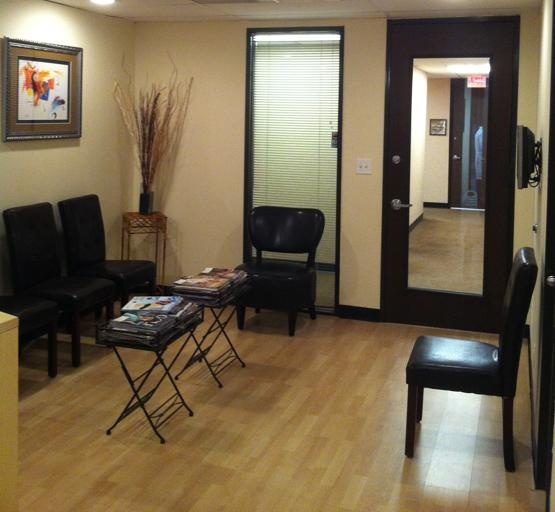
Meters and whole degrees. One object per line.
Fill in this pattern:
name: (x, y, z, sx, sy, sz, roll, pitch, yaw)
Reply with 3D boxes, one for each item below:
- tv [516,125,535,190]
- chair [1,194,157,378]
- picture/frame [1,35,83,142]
tv: (1.353, -0.536, 2.507, 0.088, 0.327, 0.387, 5, 9, 29)
chair: (-1.490, 0.213, 3.380, 0.635, 1.161, 1.151, 3, 11, 17)
picture/frame: (-1.878, -1.326, 3.623, 0.078, 0.850, 0.914, 4, 8, 20)
